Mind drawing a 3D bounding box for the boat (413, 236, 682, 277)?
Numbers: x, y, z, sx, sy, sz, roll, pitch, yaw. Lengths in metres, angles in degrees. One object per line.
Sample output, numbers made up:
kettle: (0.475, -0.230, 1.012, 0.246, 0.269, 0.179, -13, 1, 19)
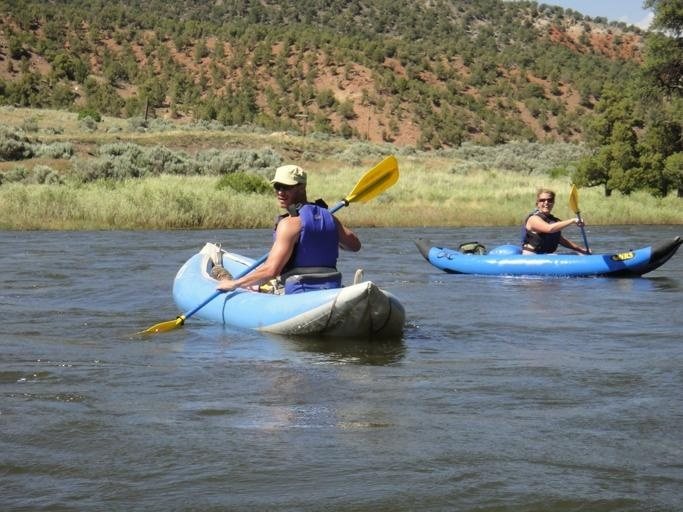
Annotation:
boat: (3.069, 0.127, 15.992, 4.065, 0.563, 1.187, -2, -4, 34)

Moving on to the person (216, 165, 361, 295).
person: (-0.429, -0.254, 10.799, 1.272, 1.373, 0.631, -2, 14, -4)

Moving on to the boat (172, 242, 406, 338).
boat: (-0.686, 0.319, 11.478, 1.155, 0.484, 2.272, -4, 5, -40)

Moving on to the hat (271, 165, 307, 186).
hat: (-0.517, -0.833, 10.772, 0.329, 0.219, 0.600, -1, 11, -1)
